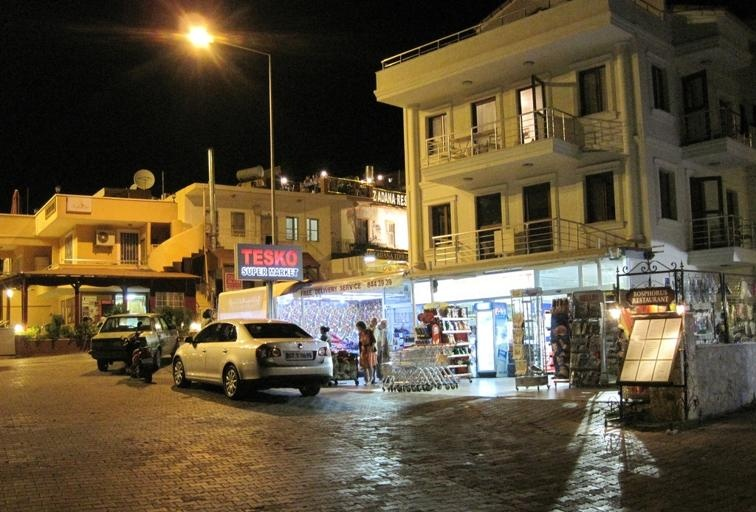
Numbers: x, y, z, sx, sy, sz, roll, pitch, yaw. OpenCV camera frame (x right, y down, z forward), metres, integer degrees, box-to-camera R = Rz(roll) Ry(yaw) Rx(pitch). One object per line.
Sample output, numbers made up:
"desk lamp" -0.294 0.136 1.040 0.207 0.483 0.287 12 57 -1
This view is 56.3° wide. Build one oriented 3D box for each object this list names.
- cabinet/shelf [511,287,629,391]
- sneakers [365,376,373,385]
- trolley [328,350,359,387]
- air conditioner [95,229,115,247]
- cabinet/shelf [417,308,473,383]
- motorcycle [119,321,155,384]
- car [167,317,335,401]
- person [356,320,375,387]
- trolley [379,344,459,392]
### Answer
"cabinet/shelf" 5.850 2.546 21.355 2.563 4.447 1.455 -9 -16 41
"sneakers" -0.278 4.061 22.913 0.242 0.352 0.215 -2 -7 2
"trolley" -1.192 3.756 23.651 1.098 1.432 1.116 3 -11 -23
"air conditioner" -17.832 -1.191 46.114 1.042 0.899 0.358 5 -8 -41
"cabinet/shelf" 2.101 2.928 22.634 1.487 2.763 2.414 -1 -2 34
"motorcycle" -7.805 3.236 23.122 0.874 1.654 4.087 3 -9 -19
"car" -3.509 2.708 18.769 3.940 2.090 1.662 -4 -9 26
"person" -0.358 3.162 22.976 0.548 2.008 0.863 -1 -8 4
"trolley" 1.299 3.468 21.731 2.110 1.392 1.295 -1 -3 8
